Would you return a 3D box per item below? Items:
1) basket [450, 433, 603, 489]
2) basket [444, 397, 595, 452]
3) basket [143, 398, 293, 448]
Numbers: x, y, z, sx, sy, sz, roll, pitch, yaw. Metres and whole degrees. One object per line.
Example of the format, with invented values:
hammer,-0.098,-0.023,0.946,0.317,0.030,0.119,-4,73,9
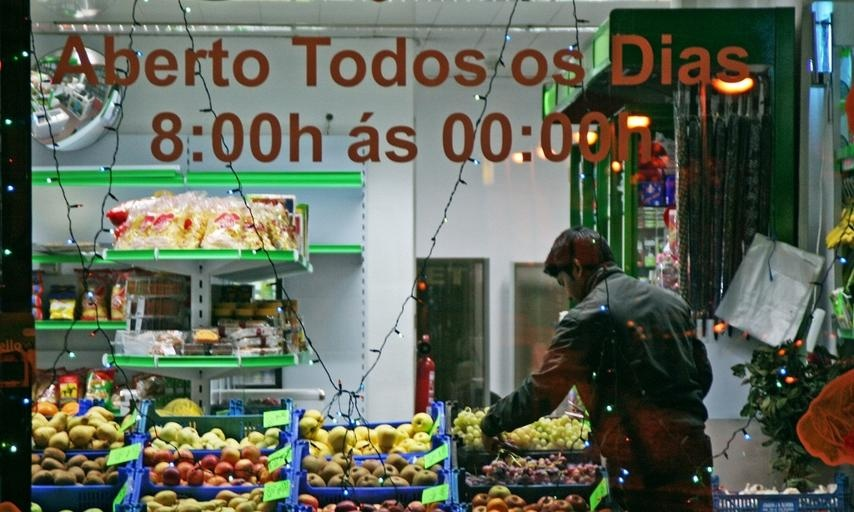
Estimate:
basket,0.666,1.285,7.073,0.551,0.137,0.363,-1,-1,0
basket,0.621,1.107,7.287,0.530,0.196,0.395,-2,-5,4
basket,-1.375,1.093,7.362,0.753,0.248,0.695,-3,2,-1
